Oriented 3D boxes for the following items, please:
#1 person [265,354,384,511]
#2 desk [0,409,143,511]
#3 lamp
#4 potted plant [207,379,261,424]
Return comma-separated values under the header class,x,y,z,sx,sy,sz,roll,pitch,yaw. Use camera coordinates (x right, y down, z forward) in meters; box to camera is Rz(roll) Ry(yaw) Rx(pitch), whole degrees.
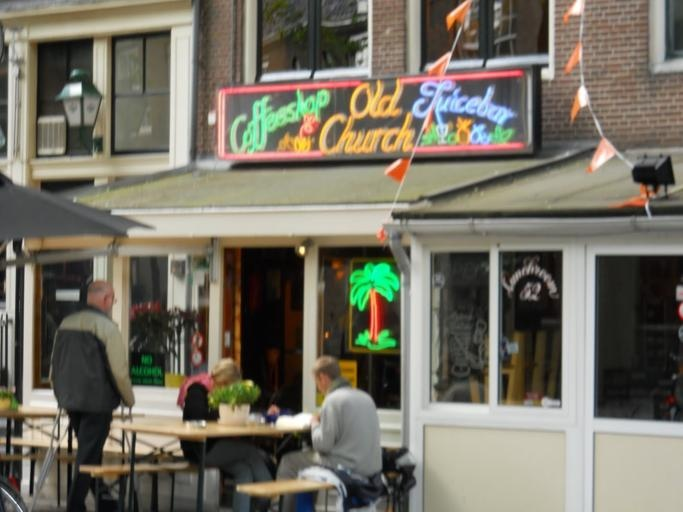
class,x,y,z,sx,sy,sz,roll,pitch,yaw
person,-0.144,1.790,14.955,1.027,1.510,0.534,-6,-7,37
desk,-3.080,2.035,16.179,1.195,1.325,1.306,2,-7,-13
lamp,-3.076,-1.681,17.614,0.508,0.970,0.281,-3,-6,15
potted plant,-1.121,1.528,15.559,0.400,0.347,0.430,2,-15,-13
